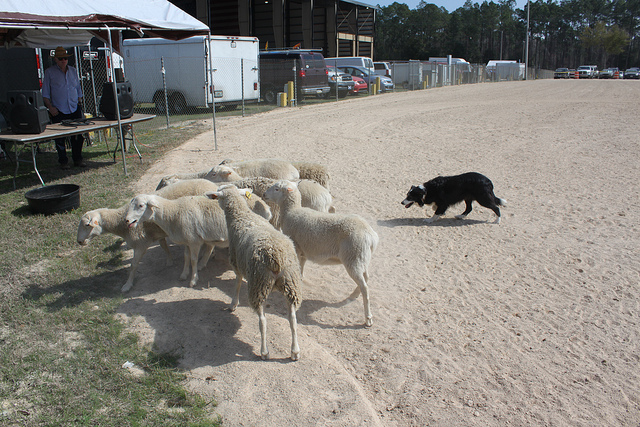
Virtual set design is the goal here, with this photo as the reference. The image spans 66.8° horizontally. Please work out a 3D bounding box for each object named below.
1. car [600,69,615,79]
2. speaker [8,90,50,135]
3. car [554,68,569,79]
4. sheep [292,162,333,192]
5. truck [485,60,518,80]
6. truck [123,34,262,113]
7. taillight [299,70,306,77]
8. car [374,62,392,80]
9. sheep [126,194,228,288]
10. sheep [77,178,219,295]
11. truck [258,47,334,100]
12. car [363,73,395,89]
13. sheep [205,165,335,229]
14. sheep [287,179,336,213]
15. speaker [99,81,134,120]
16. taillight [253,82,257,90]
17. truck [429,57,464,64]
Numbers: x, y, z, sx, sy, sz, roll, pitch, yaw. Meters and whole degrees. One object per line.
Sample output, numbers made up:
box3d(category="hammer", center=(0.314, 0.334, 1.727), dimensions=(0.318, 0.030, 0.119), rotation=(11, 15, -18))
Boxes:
box3d(category="car", center=(44.666, -21.596, 75.119), dimensions=(1.432, 1.074, 3.138), rotation=(5, 21, 27))
box3d(category="speaker", center=(-7.826, -2.691, 12.861), dimensions=(0.865, 1.067, 0.548), rotation=(-1, 16, 1))
box3d(category="car", center=(39.273, -22.566, 78.495), dimensions=(2.175, 1.046, 3.926), rotation=(7, 20, 25))
box3d(category="sheep", center=(-0.207, -0.925, 10.887), dimensions=(0.920, 0.562, 0.457), rotation=(24, 20, 13))
box3d(category="truck", center=(26.002, -20.471, 69.453), dimensions=(3.188, 2.274, 13.081), rotation=(6, 19, 21))
box3d(category="truck", center=(-7.254, -7.800, 26.098), dimensions=(6.739, 3.944, 4.853), rotation=(12, 26, 23))
box3d(category="taillight", center=(-1.123, -8.653, 29.901), dimensions=(0.288, 0.532, 0.301), rotation=(5, 58, 0))
box3d(category="car", center=(5.756, -12.939, 43.806), dimensions=(1.172, 1.057, 1.783), rotation=(5, 25, 16))
box3d(category="sheep", center=(-2.523, 0.423, 9.243), dimensions=(2.226, 1.830, 0.743), rotation=(-8, 12, -37))
box3d(category="sheep", center=(-3.303, 0.458, 9.693), dimensions=(2.706, 1.967, 0.876), rotation=(-9, 29, -2))
box3d(category="truck", center=(-2.308, -9.206, 31.608), dimensions=(4.712, 2.721, 2.901), rotation=(21, 32, 34))
box3d(category="car", center=(5.141, -11.080, 40.787), dimensions=(2.199, 1.178, 1.427), rotation=(-1, 15, 4))
box3d(category="sheep", center=(-1.175, -0.327, 9.904), dimensions=(2.955, 1.707, 1.084), rotation=(4, 5, 3))
box3d(category="sheep", center=(-0.148, -0.407, 9.924), dimensions=(0.917, 0.657, 0.465), rotation=(24, 32, 25))
box3d(category="speaker", center=(-6.456, -3.612, 15.423), dimensions=(0.642, 1.127, 0.828), rotation=(9, 19, 22))
box3d(category="taillight", center=(-3.613, -7.119, 27.017), dimensions=(0.117, 0.384, 0.398), rotation=(4, 17, 17))
box3d(category="truck", center=(16.013, -19.313, 61.045), dimensions=(4.117, 0.625, 8.700), rotation=(4, 19, 16))
